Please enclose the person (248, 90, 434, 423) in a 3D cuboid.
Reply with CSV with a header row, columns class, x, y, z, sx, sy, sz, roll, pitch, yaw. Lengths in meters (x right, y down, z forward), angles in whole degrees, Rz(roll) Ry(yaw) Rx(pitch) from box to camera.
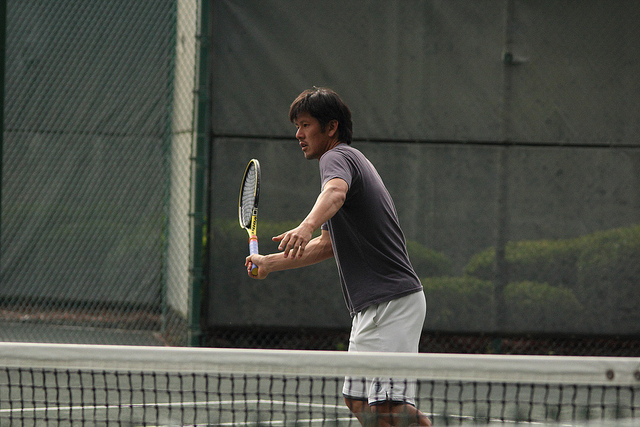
class,x,y,z,sx,sy,sz,roll,pitch,yaw
person,0.260,0.330,9.179,1.206,2.742,0.746,0,-7,-1
